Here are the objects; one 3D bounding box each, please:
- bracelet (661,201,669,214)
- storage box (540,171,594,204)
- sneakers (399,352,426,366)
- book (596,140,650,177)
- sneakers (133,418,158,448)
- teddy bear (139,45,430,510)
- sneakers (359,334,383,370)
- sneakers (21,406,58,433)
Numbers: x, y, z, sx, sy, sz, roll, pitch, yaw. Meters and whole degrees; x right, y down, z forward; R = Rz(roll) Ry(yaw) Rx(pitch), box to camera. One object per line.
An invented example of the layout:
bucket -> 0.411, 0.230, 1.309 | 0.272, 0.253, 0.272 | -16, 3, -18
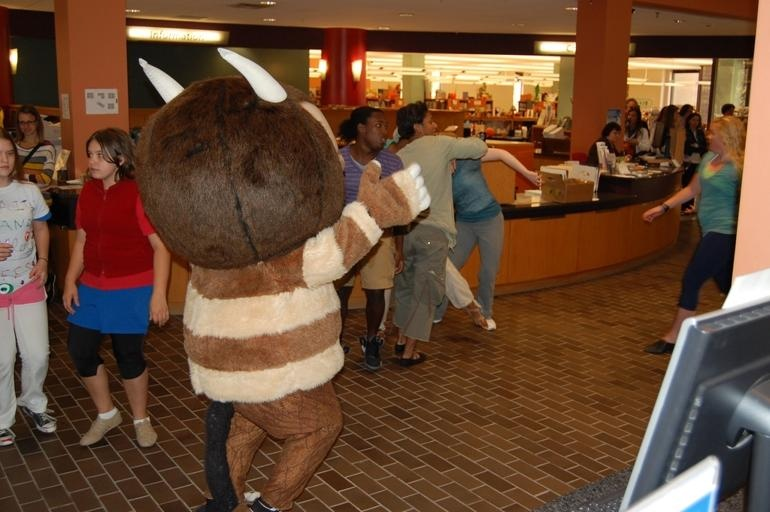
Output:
bracelet -> 2.626, -0.446, 5.168 | 0.063, 0.086, 0.031 | 18, 50, -20
storage box -> 2.298, -0.834, 6.961 | 0.483, 0.303, 0.477 | -7, 14, -29
sneakers -> 0.240, 0.901, 4.790 | 0.093, 0.072, 0.222 | 11, 18, 42
book -> 3.566, -1.375, 8.265 | 0.764, 0.474, 0.770 | -3, 13, -8
sneakers -> -1.539, 1.144, 3.551 | 0.112, 0.088, 0.208 | -19, 67, -19
teddy bear -> -0.434, 0.167, 2.238 | 0.980, 1.874, 0.358 | -4, 14, -19
sneakers -> -0.109, 0.815, 4.672 | 0.121, 0.155, 0.363 | -1, 15, -6
sneakers -> -2.336, 1.110, 3.721 | 0.210, 0.088, 0.082 | 31, 30, 16
